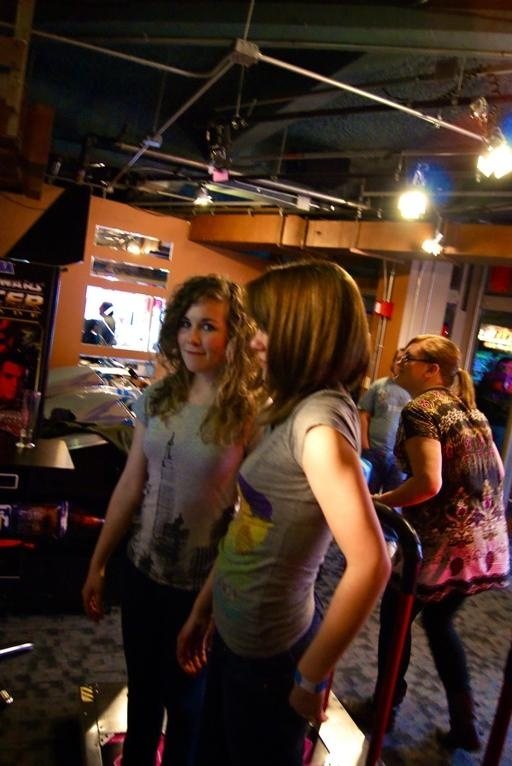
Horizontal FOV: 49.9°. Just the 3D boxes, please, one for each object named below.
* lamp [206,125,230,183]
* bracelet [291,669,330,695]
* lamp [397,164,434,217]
[{"bbox_3d":[-0.326,-1.975,4.782,0.218,0.450,0.463,9,0,-4],"label":"lamp"},{"bbox_3d":[0.087,0.438,0.820,0.072,0.018,0.067,6,-16,-1],"label":"bracelet"},{"bbox_3d":[1.379,-1.565,4.747,0.249,0.458,0.636,9,1,15],"label":"lamp"}]
